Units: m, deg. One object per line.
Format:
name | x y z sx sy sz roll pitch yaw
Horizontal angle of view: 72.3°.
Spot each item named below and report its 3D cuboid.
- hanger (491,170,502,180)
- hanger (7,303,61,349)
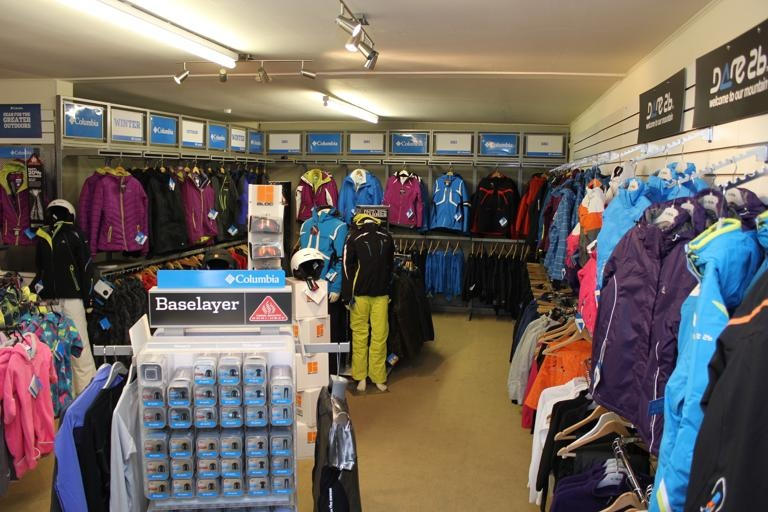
hanger | 2.074 -1.495 9.612 0.213 0.119 0.385 2 11 7
hanger | -3.473 0.662 5.380 0.449 0.216 0.573 34 -44 -28
